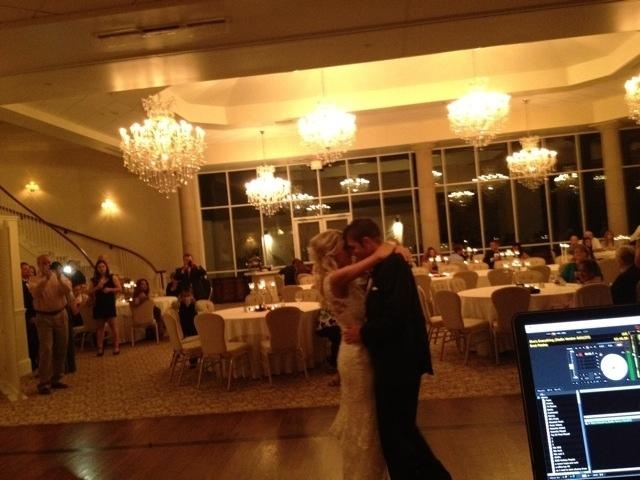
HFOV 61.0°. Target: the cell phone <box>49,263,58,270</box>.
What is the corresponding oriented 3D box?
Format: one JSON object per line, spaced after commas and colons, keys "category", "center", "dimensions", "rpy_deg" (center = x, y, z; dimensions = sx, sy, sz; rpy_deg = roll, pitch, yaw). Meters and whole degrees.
{"category": "cell phone", "center": [-3.525, 0.339, 7.163], "dimensions": [0.075, 0.043, 0.077], "rpy_deg": [-33, 31, -33]}
